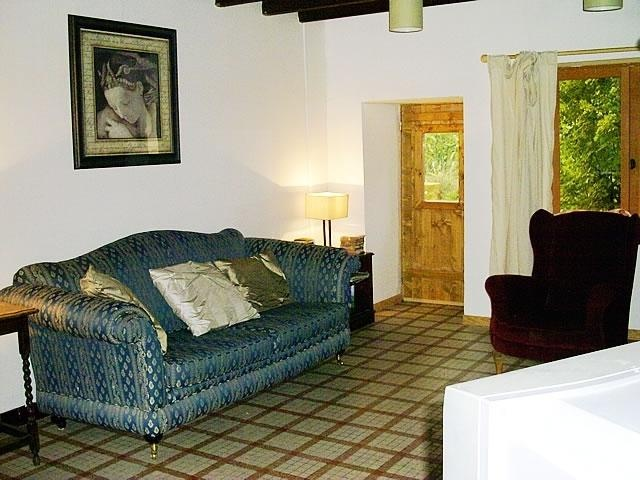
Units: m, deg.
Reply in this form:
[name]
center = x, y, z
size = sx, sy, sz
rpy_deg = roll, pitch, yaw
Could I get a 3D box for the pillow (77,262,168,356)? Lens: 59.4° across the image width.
[pillow]
center = -1.240, 0.456, 3.556
size = 0.731, 0.515, 0.334
rpy_deg = 5, 11, 39

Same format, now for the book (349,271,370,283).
[book]
center = 0.351, 0.342, 5.134
size = 0.141, 0.066, 0.173
rpy_deg = 4, -13, -42
